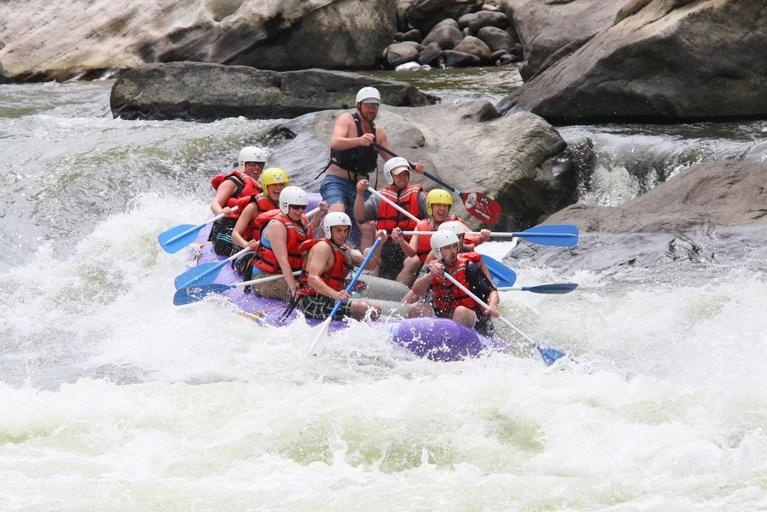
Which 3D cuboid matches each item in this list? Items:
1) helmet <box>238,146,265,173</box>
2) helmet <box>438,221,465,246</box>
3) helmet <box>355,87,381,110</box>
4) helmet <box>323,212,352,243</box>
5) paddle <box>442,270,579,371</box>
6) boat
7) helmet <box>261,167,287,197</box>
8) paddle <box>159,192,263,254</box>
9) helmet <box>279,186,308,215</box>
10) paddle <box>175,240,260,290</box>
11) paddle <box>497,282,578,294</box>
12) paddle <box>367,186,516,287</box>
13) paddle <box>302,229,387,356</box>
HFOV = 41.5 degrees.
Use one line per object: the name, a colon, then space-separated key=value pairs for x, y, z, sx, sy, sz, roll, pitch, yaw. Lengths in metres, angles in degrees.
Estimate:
helmet: x=-1.802 y=-1.336 z=14.011 sx=0.391 sy=0.318 sz=0.472 roll=-3 pitch=21 yaw=-33
helmet: x=0.842 y=-0.293 z=12.182 sx=0.222 sy=0.221 sz=0.272 roll=-16 pitch=-1 yaw=-30
helmet: x=-0.216 y=-2.066 z=13.457 sx=0.318 sy=0.180 sz=0.399 roll=1 pitch=-1 yaw=-11
helmet: x=-0.513 y=-0.349 z=11.927 sx=0.305 sy=0.244 sz=0.349 roll=-1 pitch=18 yaw=-20
paddle: x=1.484 y=0.687 z=11.773 sx=1.425 sy=0.984 sz=0.376 roll=12 pitch=34 yaw=36
boat: x=-0.464 y=0.391 z=11.927 sx=3.044 sy=0.414 sz=1.357 roll=12 pitch=1 yaw=15
helmet: x=-1.392 y=-0.978 z=13.102 sx=0.325 sy=0.262 sz=0.377 roll=-11 pitch=24 yaw=-19
paddle: x=-2.200 y=-0.455 z=13.180 sx=1.313 sy=0.056 sz=0.274 roll=-25 pitch=-4 yaw=5
helmet: x=-1.109 y=-0.667 z=12.293 sx=0.384 sy=0.301 sz=0.231 roll=-4 pitch=26 yaw=6
paddle: x=-2.155 y=0.188 z=12.511 sx=1.304 sy=0.321 sz=0.060 roll=-20 pitch=-29 yaw=32
paddle: x=1.913 y=0.401 z=12.479 sx=1.109 sy=0.111 sz=0.103 roll=-4 pitch=-6 yaw=26
paddle: x=0.664 y=-0.227 z=12.989 sx=2.518 sy=0.519 sz=0.154 roll=27 pitch=-23 yaw=0
paddle: x=-0.487 y=0.479 z=11.913 sx=0.381 sy=0.104 sz=2.369 roll=37 pitch=53 yaw=-1
